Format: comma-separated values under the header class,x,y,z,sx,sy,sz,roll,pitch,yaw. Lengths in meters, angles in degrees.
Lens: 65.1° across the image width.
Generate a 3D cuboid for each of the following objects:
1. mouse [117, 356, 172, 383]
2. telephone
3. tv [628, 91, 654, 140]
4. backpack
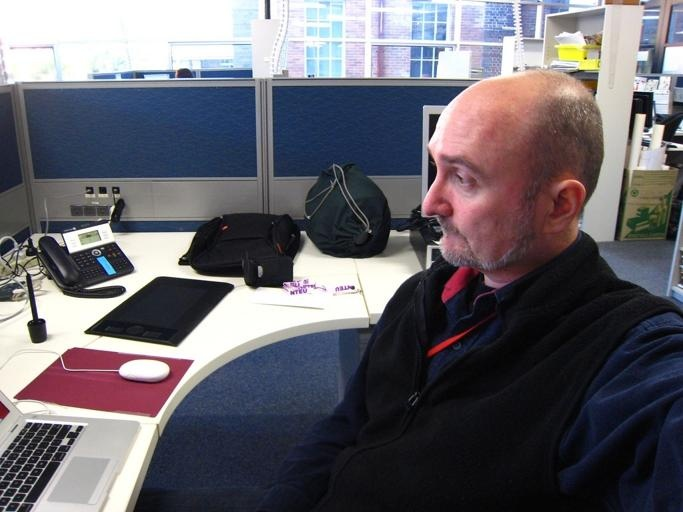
class,x,y,z,sx,sy,sz,roll,pitch,yaw
mouse,-0.487,0.278,1.319,0.082,0.019,0.064,3,15,-7
telephone,-0.923,-0.013,1.930,0.263,0.110,0.269,38,38,22
tv,2.064,-0.976,3.718,0.207,0.369,0.381,-2,9,28
backpack,0.010,-0.247,2.355,0.362,0.338,0.578,-6,23,-15
